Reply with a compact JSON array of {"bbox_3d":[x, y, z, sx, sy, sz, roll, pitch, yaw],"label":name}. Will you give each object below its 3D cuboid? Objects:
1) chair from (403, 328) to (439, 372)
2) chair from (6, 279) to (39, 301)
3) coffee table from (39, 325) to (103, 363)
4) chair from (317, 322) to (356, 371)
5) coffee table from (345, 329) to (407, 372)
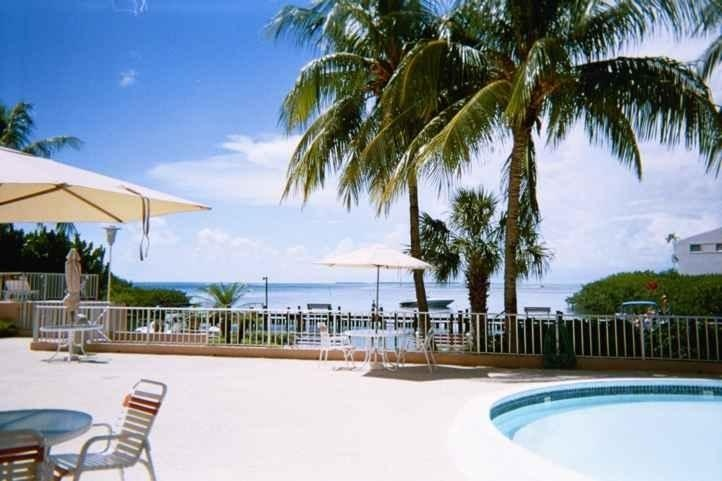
[{"bbox_3d":[1.773,3.107,18.604,0.991,1.560,0.870,2,-8,-1],"label":"chair"},{"bbox_3d":[-13.429,1.951,25.571,0.843,0.903,0.893,0,-1,-9],"label":"chair"},{"bbox_3d":[-8.449,3.059,19.106,1.571,1.112,2.708,4,-10,-26],"label":"coffee table"},{"bbox_3d":[-0.659,3.186,18.989,1.056,1.781,1.349,-1,-18,-7],"label":"chair"},{"bbox_3d":[0.320,3.022,18.587,1.380,0.724,1.348,-18,-14,-30],"label":"coffee table"}]
